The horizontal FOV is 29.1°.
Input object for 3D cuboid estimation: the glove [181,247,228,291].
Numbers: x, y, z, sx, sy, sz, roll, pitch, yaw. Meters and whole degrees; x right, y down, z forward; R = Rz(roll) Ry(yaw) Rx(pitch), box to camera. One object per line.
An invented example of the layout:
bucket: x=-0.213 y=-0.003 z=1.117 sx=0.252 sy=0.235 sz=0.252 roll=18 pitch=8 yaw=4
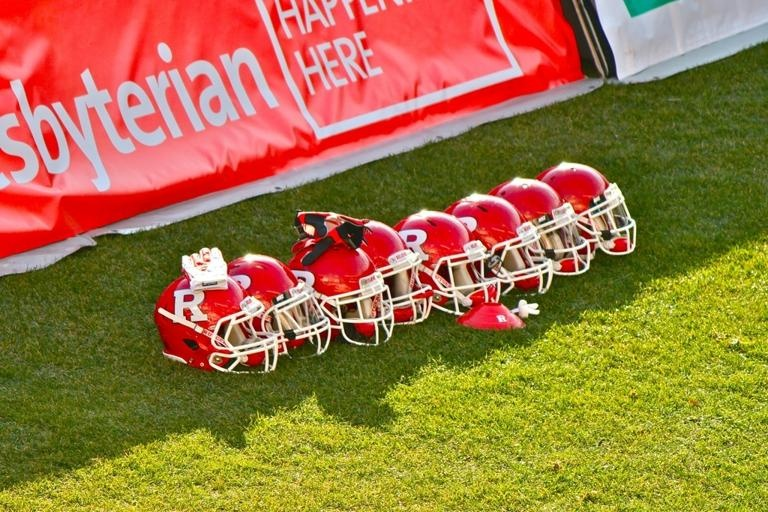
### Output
glove: x=-1.247 y=0.100 z=10.342 sx=0.300 sy=0.121 sz=0.372 roll=-12 pitch=40 yaw=-12
